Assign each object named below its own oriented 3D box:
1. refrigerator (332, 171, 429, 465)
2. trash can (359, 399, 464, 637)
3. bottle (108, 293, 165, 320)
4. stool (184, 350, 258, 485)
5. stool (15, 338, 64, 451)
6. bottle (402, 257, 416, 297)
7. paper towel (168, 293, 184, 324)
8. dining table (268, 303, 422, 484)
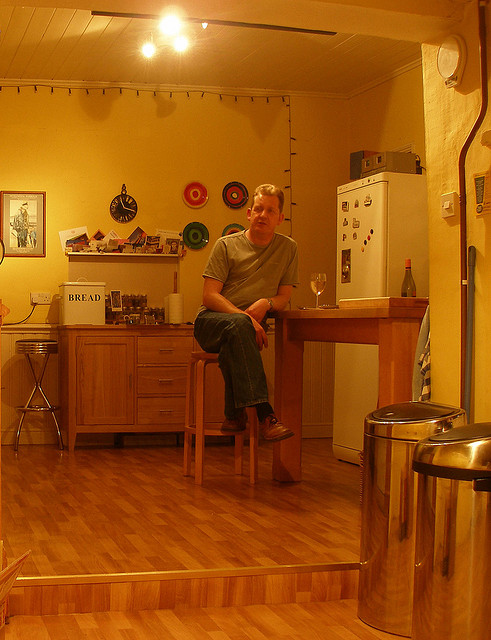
[{"bbox_3d":[0.893,-0.120,3.948,0.649,2.191,0.882,2,5,-2],"label":"refrigerator"},{"bbox_3d":[0.386,0.504,1.439,0.257,0.554,0.303,2,6,5],"label":"trash can"},{"bbox_3d":[-1.023,-0.106,4.795,0.416,0.398,0.229,0,-4,-6],"label":"bottle"},{"bbox_3d":[-0.176,0.556,3.076,0.411,0.827,0.435,0,-1,-13],"label":"stool"},{"bbox_3d":[-1.802,0.622,4.570,0.385,0.916,0.607,0,2,-24],"label":"stool"},{"bbox_3d":[0.961,-0.253,3.098,0.068,0.222,0.230,2,2,17],"label":"bottle"},{"bbox_3d":[-0.627,-0.106,4.631,0.128,0.249,0.093,1,2,-2],"label":"paper towel"},{"bbox_3d":[0.422,0.451,2.594,0.267,1.089,1.240,0,2,-17],"label":"dining table"}]
